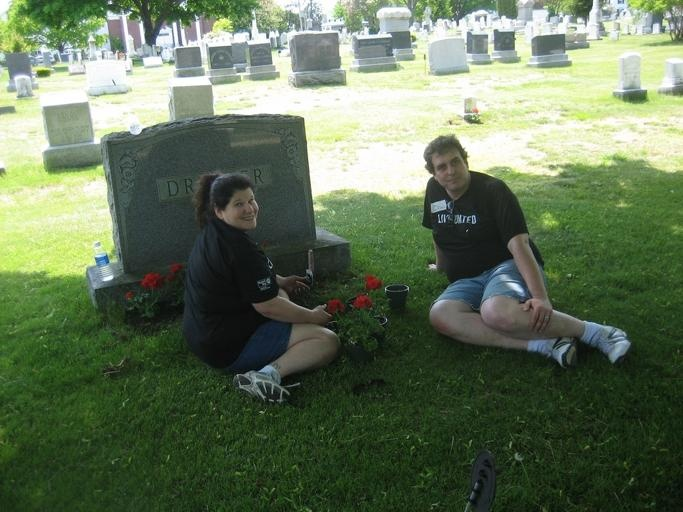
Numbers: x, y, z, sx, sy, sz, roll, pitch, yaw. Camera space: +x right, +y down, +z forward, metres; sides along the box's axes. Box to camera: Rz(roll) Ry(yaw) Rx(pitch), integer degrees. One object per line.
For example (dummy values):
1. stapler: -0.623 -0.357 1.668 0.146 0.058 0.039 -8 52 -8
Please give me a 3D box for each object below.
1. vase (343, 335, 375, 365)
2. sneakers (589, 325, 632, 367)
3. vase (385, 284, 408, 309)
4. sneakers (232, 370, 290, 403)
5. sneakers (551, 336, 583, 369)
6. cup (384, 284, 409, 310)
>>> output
1. vase: 0.143 0.773 4.879 0.179 0.125 0.216 3 11 6
2. sneakers: 2.105 0.654 4.679 0.380 0.210 0.182 37 -4 39
3. vase: 0.528 0.372 5.685 0.210 0.167 0.216 0 17 2
4. sneakers: -0.595 0.985 4.585 0.429 0.204 0.196 10 54 9
5. sneakers: 1.772 0.745 4.629 0.116 0.283 0.122 4 -16 -29
6. cup: 0.527 0.361 5.605 0.214 0.175 0.227 -1 12 0
